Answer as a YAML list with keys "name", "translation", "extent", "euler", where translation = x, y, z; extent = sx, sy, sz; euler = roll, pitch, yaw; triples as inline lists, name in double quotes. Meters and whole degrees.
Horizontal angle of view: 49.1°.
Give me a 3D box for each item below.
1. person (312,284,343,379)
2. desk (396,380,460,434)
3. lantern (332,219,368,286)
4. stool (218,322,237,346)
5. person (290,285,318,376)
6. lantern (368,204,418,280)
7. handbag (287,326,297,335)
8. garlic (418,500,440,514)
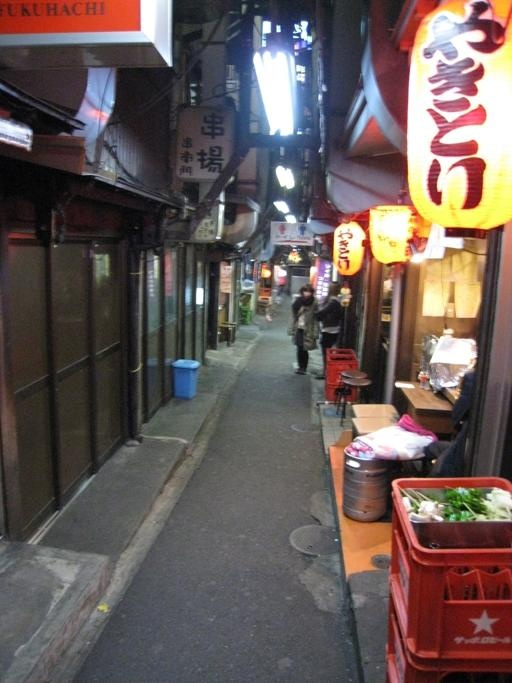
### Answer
- name: "person"
  translation: [2.211, -0.287, 15.884]
  extent: [1.137, 2.560, 0.927]
  euler: [0, 0, -9]
- name: "desk"
  translation: [2.178, 0.901, 7.186]
  extent: [0.719, 0.627, 0.816]
  euler: [2, 13, -2]
- name: "lantern"
  translation: [1.758, -1.748, 10.411]
  extent: [0.453, 0.990, 0.606]
  euler: [0, 9, -25]
- name: "stool"
  translation: [-1.045, -0.334, 21.069]
  extent: [0.744, 0.931, 0.970]
  euler: [3, 11, 7]
- name: "person"
  translation: [1.333, -0.307, 15.727]
  extent: [0.802, 2.415, 0.595]
  euler: [13, 18, 31]
- name: "lantern"
  translation: [1.645, -1.293, 6.763]
  extent: [0.303, 0.661, 0.578]
  euler: [-2, 10, -36]
- name: "handbag"
  translation: [1.038, -0.305, 15.853]
  extent: [0.237, 0.234, 0.223]
  euler: [1, 4, 3]
- name: "garlic"
  translation: [0.896, 0.856, 2.895]
  extent: [0.054, 0.030, 0.072]
  euler: [3, 17, 17]
